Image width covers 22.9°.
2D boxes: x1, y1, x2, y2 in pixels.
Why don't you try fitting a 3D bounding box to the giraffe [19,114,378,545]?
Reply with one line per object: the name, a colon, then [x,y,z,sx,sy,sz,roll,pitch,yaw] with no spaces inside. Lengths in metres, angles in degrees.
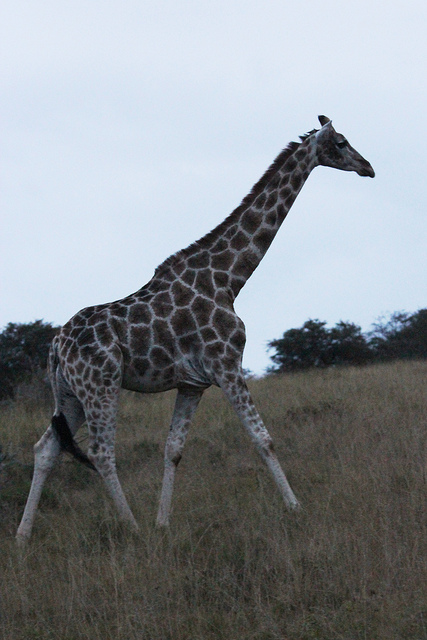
giraffe: [-0.390,0.165,9.169,3.015,2.973,1.721,-9,8,4]
